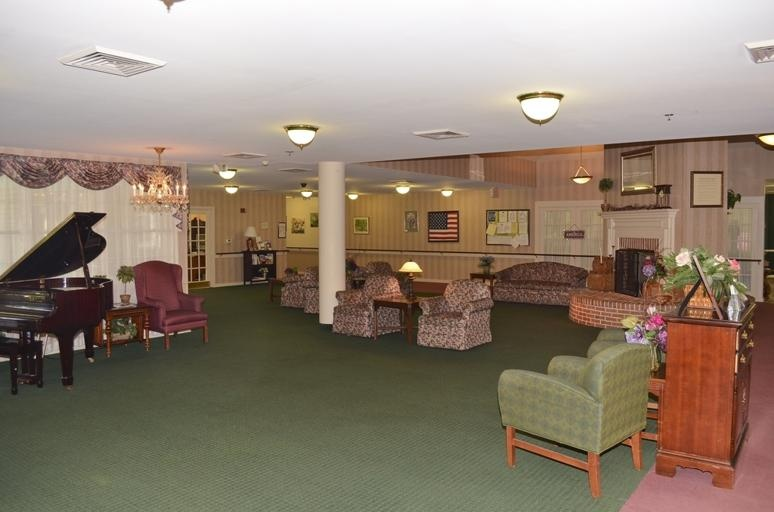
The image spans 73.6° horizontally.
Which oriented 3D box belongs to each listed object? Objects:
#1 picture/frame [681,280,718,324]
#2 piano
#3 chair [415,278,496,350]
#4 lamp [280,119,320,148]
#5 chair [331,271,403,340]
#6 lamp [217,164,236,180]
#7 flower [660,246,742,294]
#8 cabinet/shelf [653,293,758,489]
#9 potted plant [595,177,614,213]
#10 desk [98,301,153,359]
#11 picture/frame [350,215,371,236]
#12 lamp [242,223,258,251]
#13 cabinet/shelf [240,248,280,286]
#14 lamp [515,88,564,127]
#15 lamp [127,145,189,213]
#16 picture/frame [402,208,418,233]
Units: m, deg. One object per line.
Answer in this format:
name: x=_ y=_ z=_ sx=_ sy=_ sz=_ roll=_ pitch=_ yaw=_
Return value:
picture/frame: x=2.936 y=0.432 z=4.862 sx=0.509 sy=0.388 sz=0.037 roll=-2 pitch=-16 yaw=20
piano: x=-4.564 y=0.569 z=7.220 sx=1.282 sy=2.364 sz=1.819 roll=-5 pitch=9 yaw=-26
chair: x=1.288 y=1.030 z=9.319 sx=1.320 sy=1.147 sz=1.389 roll=0 pitch=-2 yaw=36
lamp: x=-1.164 y=-1.640 z=6.933 sx=0.390 sy=0.176 sz=0.321 roll=0 pitch=1 yaw=-5
chair: x=-0.244 y=0.943 z=10.177 sx=1.359 sy=0.998 sz=1.347 roll=0 pitch=-1 yaw=42
lamp: x=-3.296 y=-1.718 z=10.565 sx=0.473 sy=0.254 sz=0.415 roll=0 pitch=-1 yaw=-19
flower: x=3.103 y=0.128 z=5.285 sx=0.728 sy=0.240 sz=0.618 roll=0 pitch=7 yaw=-5
cabinet/shelf: x=2.982 y=1.249 z=4.864 sx=0.675 sy=1.550 sz=0.790 roll=5 pitch=10 yaw=33
potted plant: x=5.069 y=-1.435 z=12.005 sx=0.291 sy=0.789 sz=0.457 roll=3 pitch=9 yaw=21
desk: x=-4.578 y=1.220 z=8.922 sx=1.063 sy=0.768 sz=0.980 roll=-2 pitch=1 yaw=-43
picture/frame: x=-0.995 y=-1.153 z=19.343 sx=0.986 sy=0.712 sz=0.094 roll=3 pitch=7 yaw=34
lamp: x=-4.707 y=-0.642 z=17.759 sx=0.447 sy=0.839 sz=0.683 roll=-3 pitch=8 yaw=-14
cabinet/shelf: x=-4.410 y=0.358 z=17.485 sx=0.512 sy=1.153 sz=1.565 roll=-3 pitch=-2 yaw=42
lamp: x=1.630 y=-1.602 z=5.646 sx=0.550 sy=0.267 sz=0.446 roll=12 pitch=46 yaw=36
lamp: x=-4.091 y=-1.393 z=9.710 sx=1.160 sy=1.021 sz=1.120 roll=-3 pitch=-6 yaw=33
picture/frame: x=0.820 y=-1.224 z=18.174 sx=0.587 sy=0.802 sz=0.132 roll=7 pitch=12 yaw=42
